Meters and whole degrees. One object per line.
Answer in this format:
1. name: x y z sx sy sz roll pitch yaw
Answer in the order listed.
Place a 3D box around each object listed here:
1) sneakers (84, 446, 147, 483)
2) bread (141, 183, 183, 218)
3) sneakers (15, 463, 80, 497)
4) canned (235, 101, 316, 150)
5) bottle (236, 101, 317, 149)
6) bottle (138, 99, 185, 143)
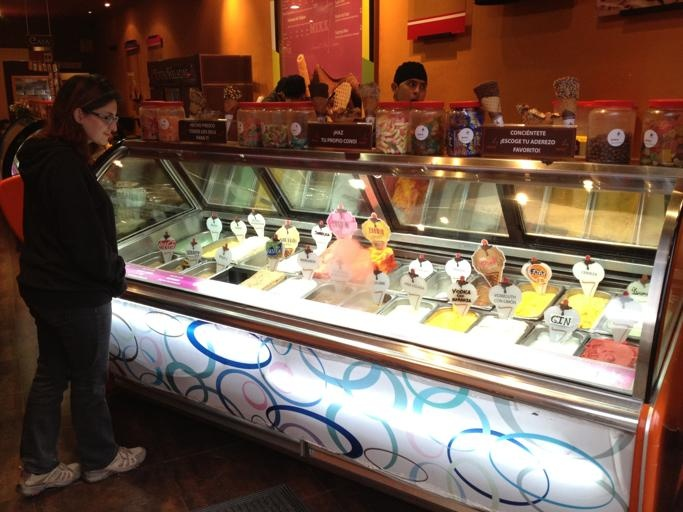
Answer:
1. sneakers: -1.196 1.122 2.454 0.317 0.128 0.112 -14 26 -35
2. bread: -1.163 -0.360 3.003 0.231 0.205 0.054 7 23 -34
3. sneakers: -1.497 1.152 2.358 0.275 0.120 0.106 -9 15 -41
4. canned: -0.303 -0.622 2.181 0.275 0.138 0.088 5 10 22
5. bottle: -0.314 -0.637 2.213 0.427 0.207 0.138 9 23 25
6. bottle: -0.988 -0.766 2.647 0.258 0.213 0.255 6 15 17
